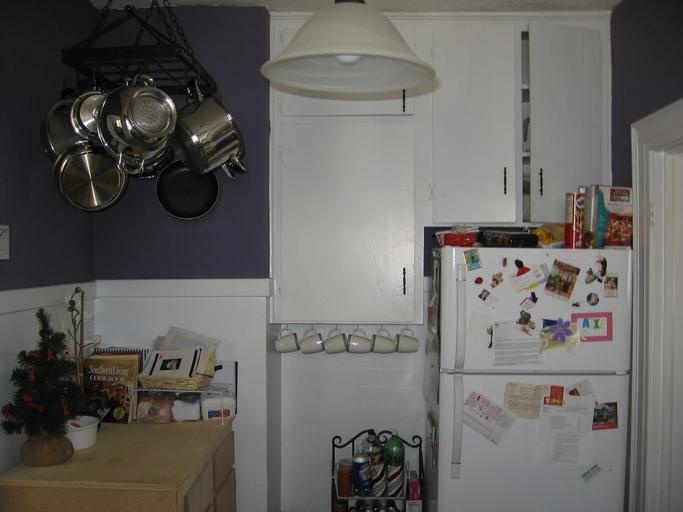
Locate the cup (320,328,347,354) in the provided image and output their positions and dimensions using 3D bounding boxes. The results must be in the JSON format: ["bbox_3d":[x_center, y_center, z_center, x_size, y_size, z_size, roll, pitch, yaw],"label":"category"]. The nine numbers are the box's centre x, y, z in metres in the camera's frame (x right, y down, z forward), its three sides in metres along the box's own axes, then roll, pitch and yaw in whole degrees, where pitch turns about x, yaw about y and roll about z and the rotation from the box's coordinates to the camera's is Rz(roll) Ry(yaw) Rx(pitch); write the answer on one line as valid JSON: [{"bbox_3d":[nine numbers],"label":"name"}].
[{"bbox_3d":[-0.033,0.465,3.159,0.131,0.152,0.089,0,-7,-2],"label":"cup"}]

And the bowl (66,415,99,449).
[{"bbox_3d":[-1.116,0.762,2.518,0.137,0.099,0.139,2,-1,0],"label":"bowl"}]

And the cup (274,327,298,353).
[{"bbox_3d":[-0.292,0.457,3.154,0.136,0.156,0.107,1,-3,16],"label":"cup"}]

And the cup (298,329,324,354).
[{"bbox_3d":[-0.150,0.462,3.167,0.155,0.174,0.095,-5,-12,36],"label":"cup"}]

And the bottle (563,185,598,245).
[{"bbox_3d":[1.126,-0.188,2.717,0.106,0.292,0.093,0,-2,-10],"label":"bottle"}]

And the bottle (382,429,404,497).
[{"bbox_3d":[0.270,1.080,3.005,0.111,0.312,0.077,0,-2,4],"label":"bottle"}]

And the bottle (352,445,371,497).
[{"bbox_3d":[0.105,1.133,3.008,0.102,0.216,0.056,0,-2,8],"label":"bottle"}]

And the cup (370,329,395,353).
[{"bbox_3d":[0.231,0.457,3.131,0.138,0.159,0.088,-7,-9,5],"label":"cup"}]

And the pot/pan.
[{"bbox_3d":[-0.802,-0.476,2.434,0.761,0.662,0.258,-13,9,-17],"label":"pot/pan"}]

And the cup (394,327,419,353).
[{"bbox_3d":[0.357,0.454,3.146,0.139,0.166,0.100,5,-8,-8],"label":"cup"}]

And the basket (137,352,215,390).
[{"bbox_3d":[-0.793,0.546,2.807,0.203,0.083,0.217,0,-4,15],"label":"basket"}]

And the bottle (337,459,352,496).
[{"bbox_3d":[0.019,1.167,3.038,0.075,0.167,0.101,0,-1,-1],"label":"bottle"}]

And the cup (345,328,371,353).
[{"bbox_3d":[0.099,0.462,3.145,0.096,0.155,0.094,-1,-4,0],"label":"cup"}]
